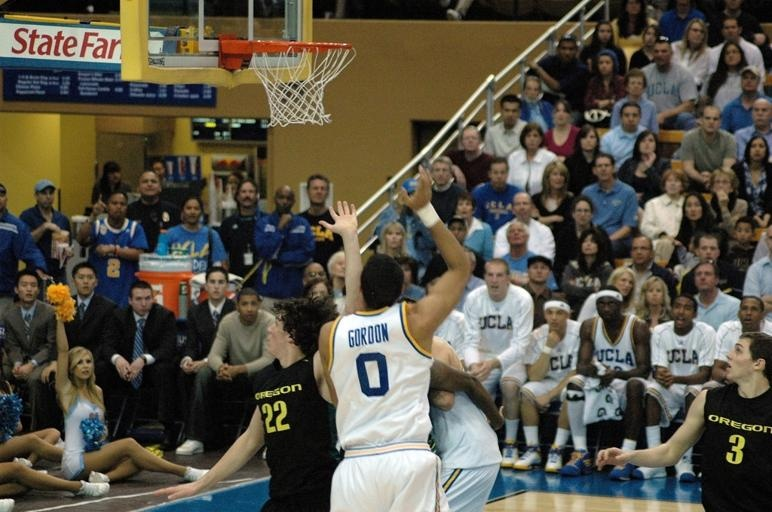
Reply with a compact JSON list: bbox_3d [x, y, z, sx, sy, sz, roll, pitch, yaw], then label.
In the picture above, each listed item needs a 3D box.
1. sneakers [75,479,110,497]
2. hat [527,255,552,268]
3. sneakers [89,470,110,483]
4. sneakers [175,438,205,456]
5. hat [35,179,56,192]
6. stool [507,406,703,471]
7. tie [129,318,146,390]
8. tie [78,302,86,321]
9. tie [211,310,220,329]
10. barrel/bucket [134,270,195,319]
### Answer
[{"bbox_3d":[-3.176,2.491,12.214,0.365,0.170,0.139,-3,33,-12],"label":"sneakers"},{"bbox_3d":[1.925,0.067,13.976,0.315,0.156,0.245,3,-5,-10],"label":"hat"},{"bbox_3d":[-3.157,2.402,12.346,0.172,0.118,0.108,-1,2,-7],"label":"sneakers"},{"bbox_3d":[-2.343,2.284,13.529,0.315,0.145,0.159,3,-2,-28],"label":"sneakers"},{"bbox_3d":[-4.811,-0.977,15.872,0.218,0.189,0.236,4,-5,-25],"label":"hat"},{"bbox_3d":[2.430,1.986,12.319,1.021,0.608,0.781,-9,-20,-27],"label":"stool"},{"bbox_3d":[-3.076,1.188,13.968,0.120,0.897,0.122,2,-13,8],"label":"tie"},{"bbox_3d":[-3.795,0.676,14.045,0.113,0.176,0.043,2,-10,-3],"label":"tie"},{"bbox_3d":[-2.131,0.775,14.083,0.125,0.194,0.050,6,-2,6],"label":"tie"},{"bbox_3d":[-2.891,0.474,14.709,0.599,0.485,0.622,-1,-1,0],"label":"barrel/bucket"}]
